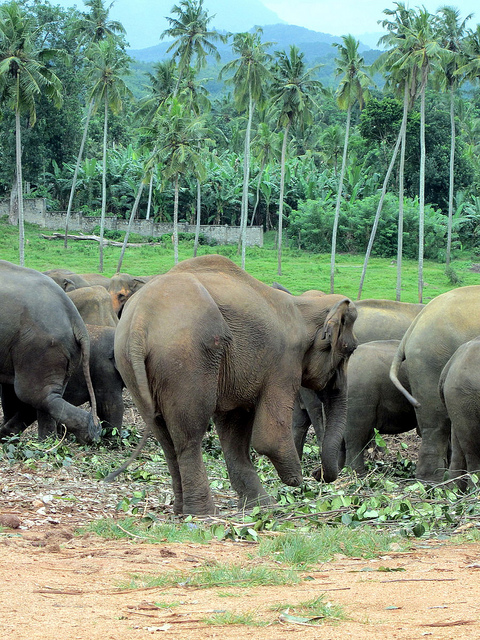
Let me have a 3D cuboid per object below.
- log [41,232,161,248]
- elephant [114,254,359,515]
[{"bbox_3d":[-7.513,-4.291,42.068,5.852,0.510,2.302,3,1,3],"label":"log"},{"bbox_3d":[0.026,0.447,5.150,1.248,1.514,2.225,-5,-9,37],"label":"elephant"}]
